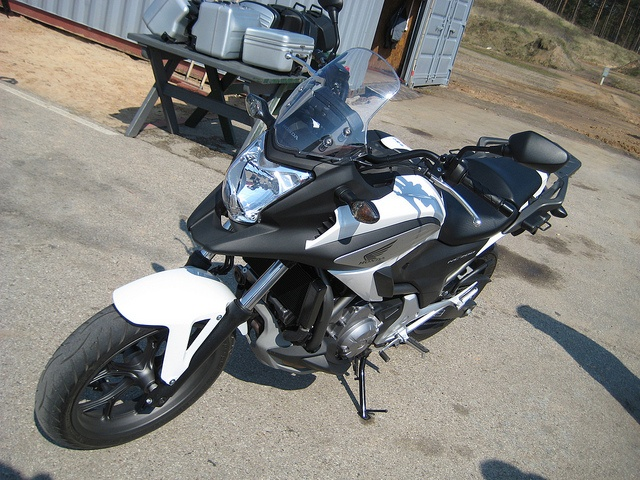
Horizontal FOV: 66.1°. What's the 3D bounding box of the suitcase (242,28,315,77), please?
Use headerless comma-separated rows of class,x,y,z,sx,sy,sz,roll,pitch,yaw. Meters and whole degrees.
suitcase,-0.547,-2.318,5.961,0.617,0.251,0.454,23,26,23

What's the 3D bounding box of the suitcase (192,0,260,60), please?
suitcase,-1.102,-2.407,5.674,0.576,0.496,0.718,23,23,8
